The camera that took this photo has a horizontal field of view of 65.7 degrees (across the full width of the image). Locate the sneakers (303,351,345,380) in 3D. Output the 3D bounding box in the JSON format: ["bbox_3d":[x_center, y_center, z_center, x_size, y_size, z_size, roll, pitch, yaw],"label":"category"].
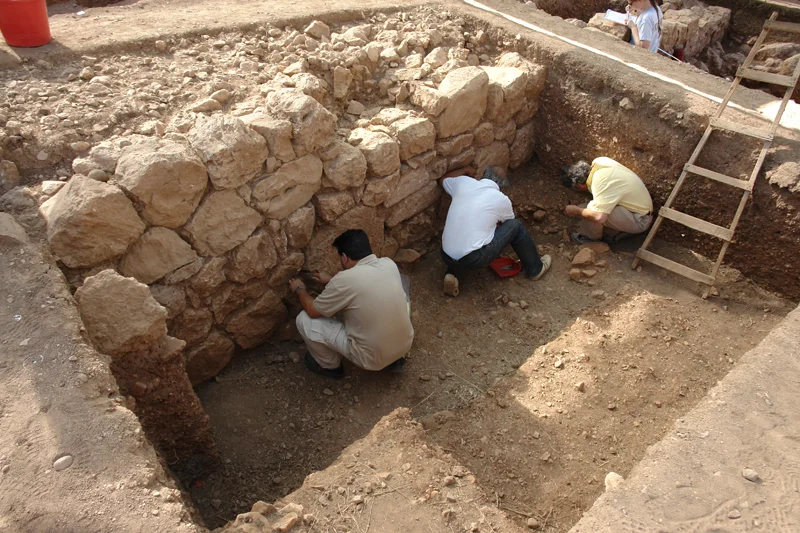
[{"bbox_3d":[-0.645,0.826,5.133,0.363,0.141,0.146,26,43,9],"label":"sneakers"}]

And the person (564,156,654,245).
[{"bbox_3d":[1.949,-0.621,5.886,0.805,0.716,0.742,21,62,28],"label":"person"}]

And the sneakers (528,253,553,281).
[{"bbox_3d":[1.311,-0.005,5.689,0.114,0.133,0.320,36,71,28],"label":"sneakers"}]

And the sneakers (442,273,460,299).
[{"bbox_3d":[0.443,0.161,5.524,0.122,0.213,0.083,9,66,17],"label":"sneakers"}]

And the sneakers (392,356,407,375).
[{"bbox_3d":[-0.014,0.815,5.173,0.103,0.040,0.137,25,56,11],"label":"sneakers"}]

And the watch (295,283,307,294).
[{"bbox_3d":[-0.806,0.176,5.025,0.054,0.078,0.077,-8,73,-50],"label":"watch"}]

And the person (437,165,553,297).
[{"bbox_3d":[0.866,-0.272,5.628,0.938,0.819,1.084,20,47,31],"label":"person"}]

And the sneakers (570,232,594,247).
[{"bbox_3d":[1.714,-0.263,5.883,0.111,0.059,0.150,-26,40,-31],"label":"sneakers"}]
